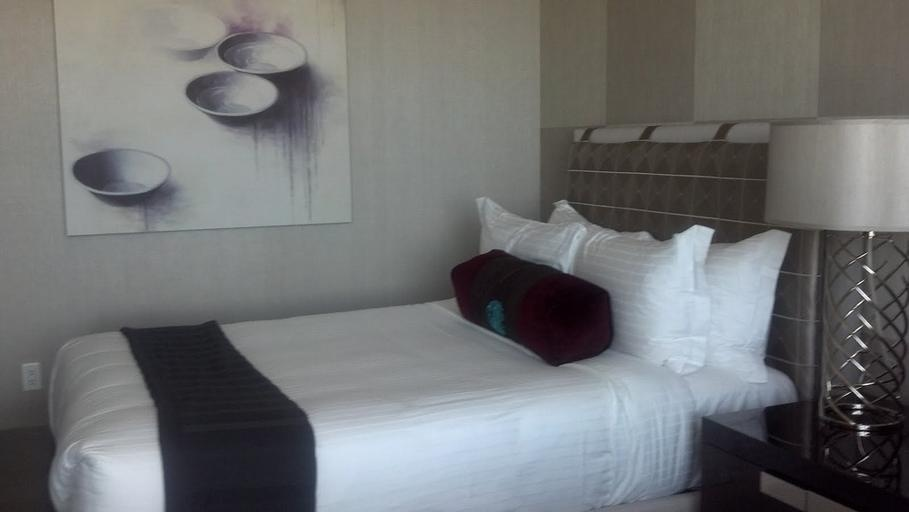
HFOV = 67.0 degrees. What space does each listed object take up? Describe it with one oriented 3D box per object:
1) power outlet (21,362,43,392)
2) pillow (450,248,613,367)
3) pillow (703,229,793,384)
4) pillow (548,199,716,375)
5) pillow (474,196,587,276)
[{"bbox_3d":[-2.721,0.772,4.415,0.126,0.182,0.017,-9,12,-13],"label":"power outlet"},{"bbox_3d":[0.481,0.272,4.100,0.575,0.423,1.107,-22,23,-20],"label":"pillow"},{"bbox_3d":[1.573,0.274,3.687,0.283,0.573,0.694,15,-29,-18],"label":"pillow"},{"bbox_3d":[1.081,0.153,4.173,0.505,0.785,1.381,-6,9,-16],"label":"pillow"},{"bbox_3d":[0.462,-0.088,4.412,0.862,0.437,0.278,16,19,42],"label":"pillow"}]
